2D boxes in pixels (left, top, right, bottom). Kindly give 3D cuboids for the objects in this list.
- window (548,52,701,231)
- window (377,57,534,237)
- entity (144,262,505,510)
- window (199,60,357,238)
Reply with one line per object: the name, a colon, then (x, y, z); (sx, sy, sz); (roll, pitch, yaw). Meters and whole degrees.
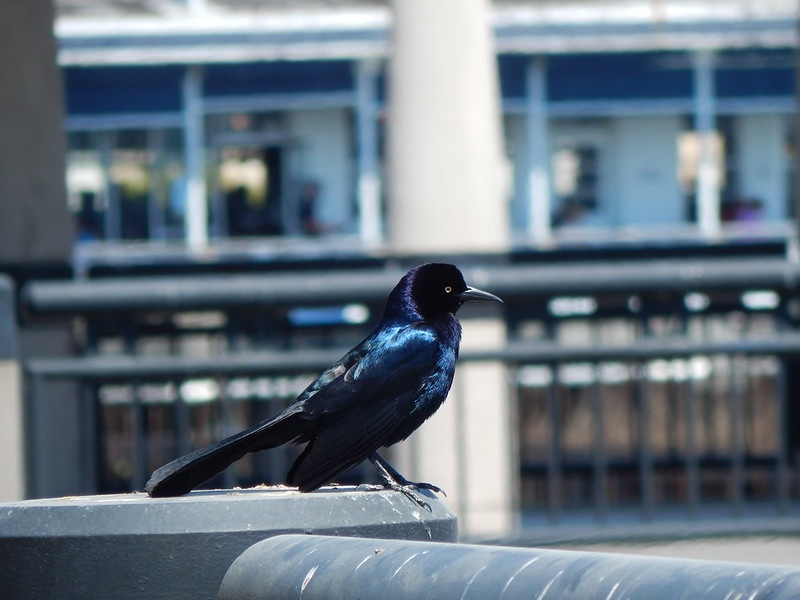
window: (2.256, -1.739, 24.869); (1.756, 2.372, 1.503); (-1, 1, 0)
window: (0.495, -1.385, 24.090); (1.495, 2.550, 1.494); (-2, -4, 5)
entity: (-0.568, 0.598, 18.658); (2.569, 1.852, 0.903); (-1, 2, -8)
window: (-1.137, -1.540, 24.089); (1.677, 2.041, 0.211); (0, 23, 0)
